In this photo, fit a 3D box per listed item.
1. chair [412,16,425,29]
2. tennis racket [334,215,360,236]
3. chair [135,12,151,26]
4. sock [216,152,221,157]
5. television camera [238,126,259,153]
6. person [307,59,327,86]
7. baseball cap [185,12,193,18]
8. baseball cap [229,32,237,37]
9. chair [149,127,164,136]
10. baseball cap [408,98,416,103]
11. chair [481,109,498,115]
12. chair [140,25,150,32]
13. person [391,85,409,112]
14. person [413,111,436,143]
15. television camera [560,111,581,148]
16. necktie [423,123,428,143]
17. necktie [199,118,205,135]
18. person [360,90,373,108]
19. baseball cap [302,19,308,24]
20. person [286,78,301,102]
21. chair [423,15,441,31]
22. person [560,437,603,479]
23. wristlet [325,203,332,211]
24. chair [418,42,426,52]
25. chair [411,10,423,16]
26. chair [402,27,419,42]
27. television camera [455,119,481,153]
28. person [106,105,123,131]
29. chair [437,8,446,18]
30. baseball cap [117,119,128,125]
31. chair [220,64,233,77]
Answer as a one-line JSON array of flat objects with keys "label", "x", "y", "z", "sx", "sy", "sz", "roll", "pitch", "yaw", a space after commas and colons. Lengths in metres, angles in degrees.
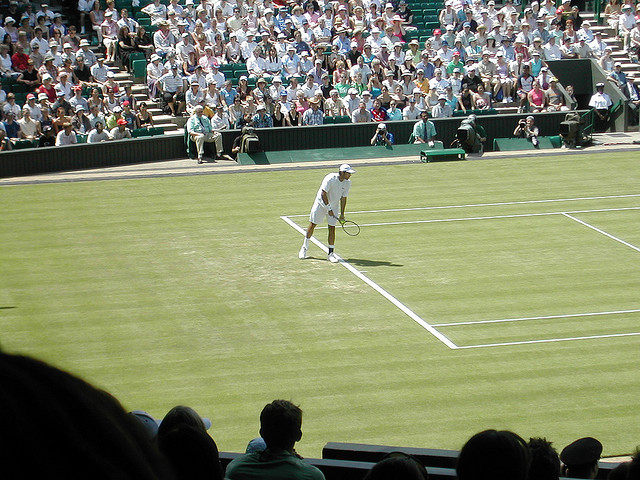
[{"label": "chair", "x": 3.841, "y": -8.503, "z": 52.176, "sx": 0.626, "sy": 0.607, "sz": 0.579, "roll": 0, "pitch": 15, "yaw": 2}, {"label": "tennis racket", "x": 0.725, "y": -0.392, "z": 35.755, "sx": 1.221, "sy": 0.058, "sz": 0.454, "roll": 15, "pitch": -20, "yaw": 42}, {"label": "chair", "x": -6.316, "y": -8.045, "z": 48.369, "sx": 0.543, "sy": 0.464, "sz": 0.359, "roll": -5, "pitch": 6, "yaw": -11}, {"label": "sock", "x": -3.251, "y": -2.859, "z": 44.118, "sx": 0.114, "sy": 0.126, "sz": 0.202, "roll": -9, "pitch": 8, "yaw": -40}, {"label": "television camera", "x": -2.288, "y": -3.291, "z": 43.712, "sx": 0.559, "sy": 0.761, "sz": 0.894, "roll": -4, "pitch": 10, "yaw": -17}, {"label": "person", "x": -0.070, "y": -5.864, "z": 46.559, "sx": 0.644, "sy": 0.919, "sz": 0.790, "roll": -5, "pitch": 6, "yaw": 0}, {"label": "baseball cap", "x": -4.592, "y": -8.082, "z": 47.873, "sx": 0.171, "sy": 0.192, "sz": 0.383, "roll": -2, "pitch": 6, "yaw": 25}, {"label": "baseball cap", "x": -3.075, "y": -7.341, "z": 47.526, "sx": 0.324, "sy": 0.179, "sz": 0.294, "roll": 3, "pitch": 8, "yaw": 21}, {"label": "chair", "x": -5.343, "y": -3.650, "z": 44.407, "sx": 0.346, "sy": 0.346, "sz": 0.311, "roll": -2, "pitch": 31, "yaw": -13}, {"label": "baseball cap", "x": 3.158, "y": -4.846, "z": 45.942, "sx": 0.264, "sy": 0.097, "sz": 0.320, "roll": 2, "pitch": 6, "yaw": 9}, {"label": "chair", "x": 5.946, "y": -4.532, "z": 46.904, "sx": 0.733, "sy": 0.182, "sz": 0.250, "roll": -8, "pitch": 7, "yaw": -41}, {"label": "chair", "x": -6.160, "y": -7.643, "z": 48.066, "sx": 0.404, "sy": 0.287, "sz": 0.264, "roll": 0, "pitch": 0, "yaw": -8}, {"label": "person", "x": 2.795, "y": -4.986, "z": 46.442, "sx": 0.513, "sy": 0.878, "sz": 0.756, "roll": -4, "pitch": 6, "yaw": 3}, {"label": "person", "x": 3.536, "y": -3.842, "z": 45.174, "sx": 0.816, "sy": 1.039, "sz": 0.541, "roll": -6, "pitch": 6, "yaw": -17}, {"label": "television camera", "x": 8.687, "y": -3.871, "z": 46.539, "sx": 0.724, "sy": 1.213, "sz": 2.033, "roll": -4, "pitch": 5, "yaw": 11}, {"label": "necktie", "x": 3.583, "y": -3.648, "z": 45.200, "sx": 0.146, "sy": 0.591, "sz": 0.093, "roll": -11, "pitch": 8, "yaw": -38}, {"label": "necktie", "x": -3.777, "y": -3.745, "z": 43.775, "sx": 0.214, "sy": 0.412, "sz": 0.125, "roll": -8, "pitch": 20, "yaw": -3}, {"label": "person", "x": 1.613, "y": -4.839, "z": 45.567, "sx": 0.377, "sy": 0.583, "sz": 0.923, "roll": -5, "pitch": 6, "yaw": 2}, {"label": "baseball cap", "x": -0.515, "y": -8.197, "z": 49.896, "sx": 0.197, "sy": 0.155, "sz": 0.233, "roll": -5, "pitch": 6, "yaw": -6}, {"label": "person", "x": -0.858, "y": -5.194, "z": 45.831, "sx": 0.502, "sy": 0.759, "sz": 0.911, "roll": -5, "pitch": 6, "yaw": -1}, {"label": "chair", "x": 4.374, "y": -8.541, "z": 52.337, "sx": 0.784, "sy": 0.553, "sz": 0.668, "roll": 0, "pitch": 7, "yaw": -10}, {"label": "person", "x": 4.529, "y": 3.799, "z": 23.337, "sx": 0.709, "sy": 0.689, "sz": 0.287, "roll": -3, "pitch": 7, "yaw": 7}, {"label": "wristlet", "x": 0.257, "y": -0.861, "z": 33.570, "sx": 0.140, "sy": 0.154, "sz": 0.068, "roll": -5, "pitch": 6, "yaw": -4}, {"label": "chair", "x": 3.870, "y": -7.305, "z": 50.287, "sx": 0.434, "sy": 0.403, "sz": 0.398, "roll": 0, "pitch": 5, "yaw": -2}, {"label": "chair", "x": 3.820, "y": -8.998, "z": 52.731, "sx": 0.508, "sy": 0.268, "sz": 0.233, "roll": 0, "pitch": 17, "yaw": -3}, {"label": "chair", "x": 3.440, "y": -7.872, "z": 50.846, "sx": 0.744, "sy": 0.544, "sz": 0.639, "roll": 0, "pitch": 20, "yaw": -3}, {"label": "television camera", "x": 5.007, "y": -3.512, "z": 44.943, "sx": 0.582, "sy": 0.732, "sz": 0.549, "roll": -5, "pitch": -23, "yaw": -2}, {"label": "person", "x": -6.540, "y": -3.978, "z": 43.309, "sx": 0.451, "sy": 0.784, "sz": 0.834, "roll": -7, "pitch": 7, "yaw": -20}, {"label": "chair", "x": 4.809, "y": -9.079, "z": 53.028, "sx": 0.258, "sy": 0.197, "sz": 0.293, "roll": 2, "pitch": -12, "yaw": 6}, {"label": "baseball cap", "x": -6.301, "y": -3.838, "z": 43.097, "sx": 0.269, "sy": 0.167, "sz": 0.359, "roll": -4, "pitch": 5, "yaw": -8}, {"label": "chair", "x": -3.194, "y": -5.961, "z": 46.739, "sx": 0.627, "sy": 0.538, "sz": 0.438, "roll": 1, "pitch": 20, "yaw": -3}]
